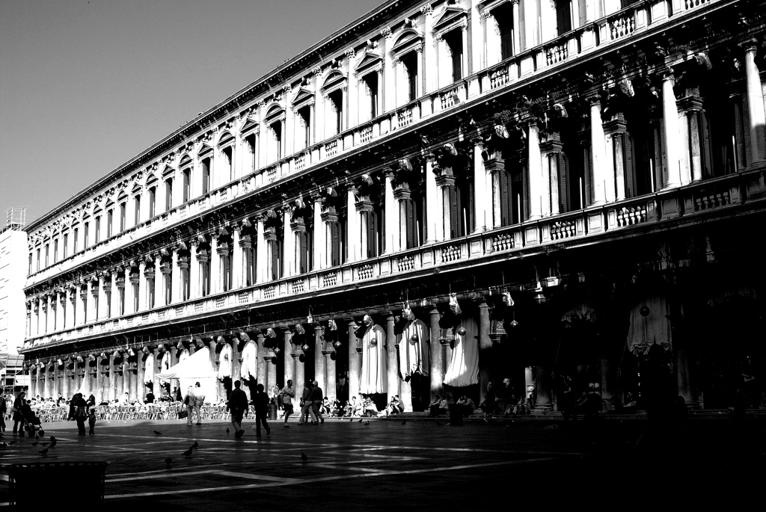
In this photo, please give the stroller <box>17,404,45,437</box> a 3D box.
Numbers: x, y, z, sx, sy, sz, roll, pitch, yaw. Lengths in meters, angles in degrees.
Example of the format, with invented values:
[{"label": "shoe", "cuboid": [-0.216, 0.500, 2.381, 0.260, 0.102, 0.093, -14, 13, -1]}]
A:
[{"label": "stroller", "cuboid": [-13.879, 6.520, 46.343, 0.840, 1.131, 0.907, -6, -20, 16]}]
